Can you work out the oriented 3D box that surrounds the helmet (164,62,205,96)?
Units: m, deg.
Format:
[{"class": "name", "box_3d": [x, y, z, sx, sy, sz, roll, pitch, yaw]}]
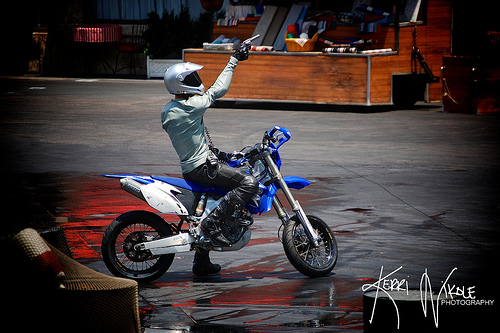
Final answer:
[{"class": "helmet", "box_3d": [-0.768, -0.995, 6.207, 0.518, 0.288, 0.342, -1, 14, -25]}]

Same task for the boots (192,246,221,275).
[{"class": "boots", "box_3d": [-0.446, 1.067, 6.270, 0.393, 0.272, 0.150, -3, -13, 16]}]

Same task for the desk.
[{"class": "desk", "box_3d": [-8.600, -6.571, 30.570, 2.970, 2.315, 2.471, 8, 23, 7]}]

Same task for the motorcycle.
[{"class": "motorcycle", "box_3d": [-0.332, 0.478, 6.448, 3.239, 1.527, 1.008, -1, -8, -34]}]

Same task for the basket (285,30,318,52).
[{"class": "basket", "box_3d": [1.793, -4.432, 19.496, 1.073, 0.478, 0.912, 2, 5, 6]}]

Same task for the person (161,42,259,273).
[{"class": "person", "box_3d": [-0.450, -0.068, 6.144, 0.722, 2.575, 1.086, -8, 14, -44]}]
